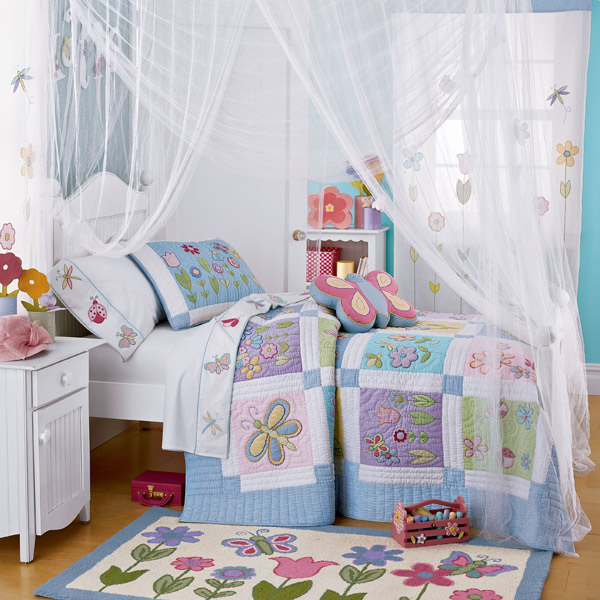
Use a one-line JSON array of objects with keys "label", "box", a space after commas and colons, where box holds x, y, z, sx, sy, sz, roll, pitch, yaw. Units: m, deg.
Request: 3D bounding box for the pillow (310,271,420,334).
[{"label": "pillow", "box": [0.299, -0.002, 2.891, 0.376, 0.217, 0.570, 2, 6, 28]}]

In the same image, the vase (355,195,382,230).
[{"label": "vase", "box": [0.405, -0.532, 4.079, 0.191, 0.205, 0.201, 0, -1, -10]}]

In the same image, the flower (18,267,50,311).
[{"label": "flower", "box": [-0.905, -0.033, 2.284, 0.128, 0.137, 0.032, -22, 2, -7]}]

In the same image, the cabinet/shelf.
[{"label": "cabinet/shelf", "box": [0.253, -0.296, 4.201, 0.532, 0.481, 0.324, 3, 34, 10]}]

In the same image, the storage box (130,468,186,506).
[{"label": "storage box", "box": [-0.549, 0.735, 2.617, 0.225, 0.095, 0.172, 1, 6, 20]}]

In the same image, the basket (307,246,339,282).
[{"label": "basket", "box": [0.134, -0.223, 4.100, 0.224, 0.207, 0.217, 0, 0, 6]}]
